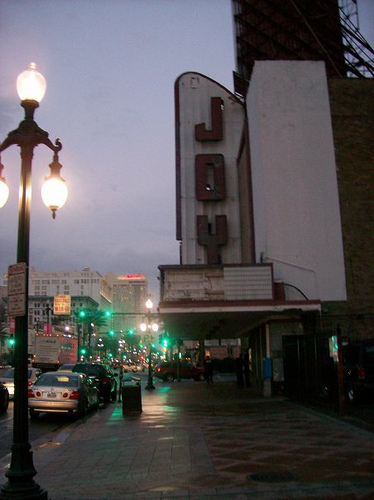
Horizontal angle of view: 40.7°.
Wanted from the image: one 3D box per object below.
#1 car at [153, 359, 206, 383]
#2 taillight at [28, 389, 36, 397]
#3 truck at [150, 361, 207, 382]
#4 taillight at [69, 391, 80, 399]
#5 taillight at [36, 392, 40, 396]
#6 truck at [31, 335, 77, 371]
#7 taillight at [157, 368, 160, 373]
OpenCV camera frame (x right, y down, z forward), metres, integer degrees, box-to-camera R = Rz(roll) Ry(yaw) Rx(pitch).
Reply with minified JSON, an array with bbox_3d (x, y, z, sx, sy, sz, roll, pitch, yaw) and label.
[{"bbox_3d":[-0.744,9.775,41.665,4.353,1.607,1.624,0,-7,-3],"label":"car"},{"bbox_3d":[-4.663,4.242,15.032,0.293,0.176,0.276,1,2,0],"label":"taillight"},{"bbox_3d":[-0.720,9.936,40.682,4.761,1.553,2.126,-1,-6,-14],"label":"truck"},{"bbox_3d":[-3.368,4.307,15.089,0.110,0.238,0.335,-12,-13,36],"label":"taillight"},{"bbox_3d":[-4.440,4.240,14.969,0.111,0.114,0.009,-6,-11,12],"label":"taillight"},{"bbox_3d":[-9.627,7.634,37.106,2.616,2.219,4.494,-2,-15,8],"label":"truck"},{"bbox_3d":[-2.277,9.495,40.164,0.212,0.325,0.399,-3,-10,-5],"label":"taillight"}]
